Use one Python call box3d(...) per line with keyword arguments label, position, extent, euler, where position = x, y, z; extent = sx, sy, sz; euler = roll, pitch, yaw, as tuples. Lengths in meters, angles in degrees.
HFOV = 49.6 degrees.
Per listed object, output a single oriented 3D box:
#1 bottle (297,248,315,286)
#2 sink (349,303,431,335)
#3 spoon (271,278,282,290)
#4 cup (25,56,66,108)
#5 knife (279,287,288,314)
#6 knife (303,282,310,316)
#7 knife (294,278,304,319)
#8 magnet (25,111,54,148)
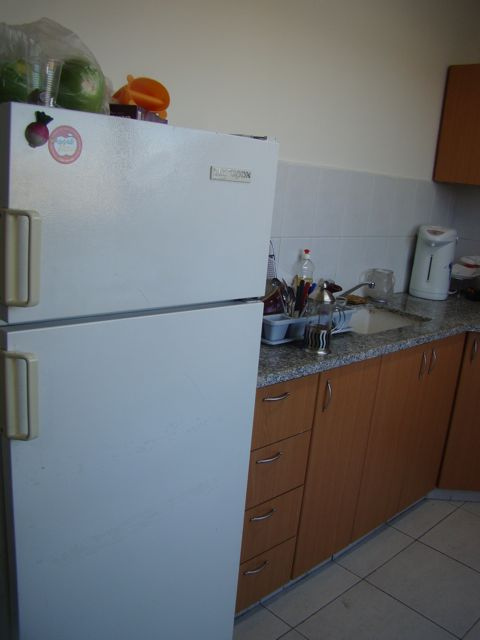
box3d(label="bottle", position=(0.275, -0.232, 2.154), extent=(0.063, 0.135, 0.153), euler=(8, 14, 13))
box3d(label="sink", position=(0.680, 0.006, 2.362), extent=(0.332, 0.118, 0.218), euler=(9, 14, 16))
box3d(label="spoon", position=(0.121, -0.128, 1.826), extent=(0.031, 0.034, 0.038), euler=(-10, 39, -22))
box3d(label="cup", position=(-0.317, -0.383, 0.832), extent=(0.060, 0.076, 0.065), euler=(11, 32, -7))
box3d(label="knife", position=(0.152, -0.073, 1.800), extent=(0.016, 0.064, 0.064), euler=(-5, 7, -13))
box3d(label="knife", position=(0.225, -0.074, 1.785), extent=(0.026, 0.111, 0.022), euler=(4, -8, -3))
box3d(label="knife", position=(0.203, -0.075, 1.820), extent=(0.030, 0.144, 0.025), euler=(7, -5, -2))
box3d(label="magnet", position=(-0.275, -0.262, 0.710), extent=(0.008, 0.048, 0.036), euler=(14, 16, 34))
